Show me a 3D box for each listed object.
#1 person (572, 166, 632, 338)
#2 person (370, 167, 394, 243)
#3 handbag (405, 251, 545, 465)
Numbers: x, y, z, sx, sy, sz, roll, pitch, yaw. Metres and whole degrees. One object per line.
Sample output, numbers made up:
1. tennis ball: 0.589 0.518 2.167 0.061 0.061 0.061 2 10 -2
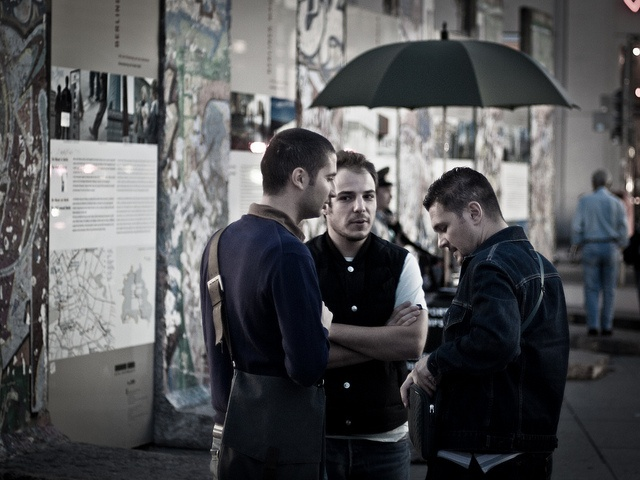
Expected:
1. person: 4.152 0.170 11.115 0.775 1.972 0.727 3 2 22
2. person: 0.619 -0.331 7.429 0.251 0.299 0.791 -12 -20 -1
3. handbag: 0.920 0.713 4.936 0.772 1.840 1.026 2 -5 3
